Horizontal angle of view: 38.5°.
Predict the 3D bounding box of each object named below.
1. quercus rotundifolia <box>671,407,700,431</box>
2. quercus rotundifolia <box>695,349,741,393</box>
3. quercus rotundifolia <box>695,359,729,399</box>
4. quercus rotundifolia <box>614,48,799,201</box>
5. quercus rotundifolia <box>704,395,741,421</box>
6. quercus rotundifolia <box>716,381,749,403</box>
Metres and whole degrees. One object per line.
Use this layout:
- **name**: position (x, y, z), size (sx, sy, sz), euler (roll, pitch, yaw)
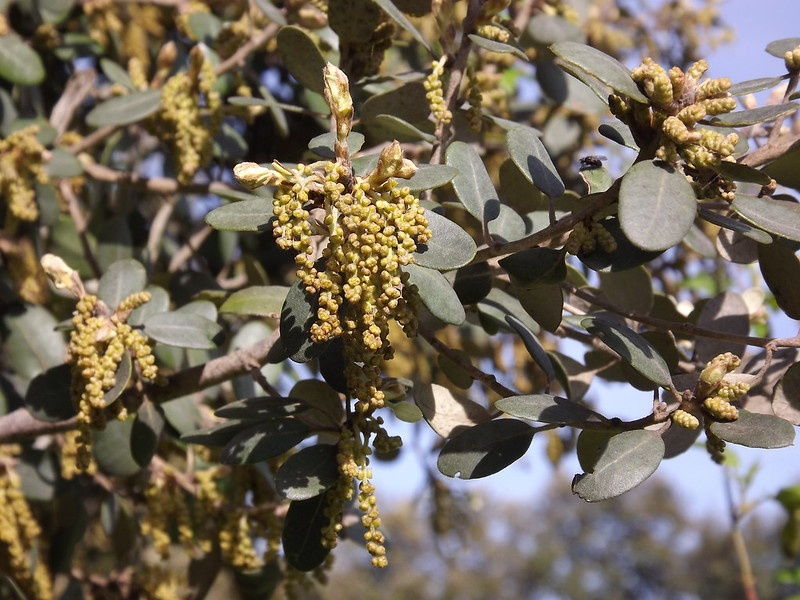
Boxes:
- **quercus rotundifolia**: position (0.682, 0.289, 2.732), size (0.055, 0.051, 0.108), euler (-14, -18, 16)
- **quercus rotundifolia**: position (0.753, 0.174, 2.722), size (0.063, 0.118, 0.041), euler (37, 2, -5)
- **quercus rotundifolia**: position (0.748, 0.181, 2.718), size (0.056, 0.106, 0.039), euler (30, 4, 2)
- **quercus rotundifolia**: position (0.701, -0.389, 2.680), size (0.406, 0.320, 0.226), euler (4, -20, -35)
- **quercus rotundifolia**: position (0.749, 0.253, 2.682), size (0.078, 0.046, 0.041), euler (22, 9, 30)
- **quercus rotundifolia**: position (0.777, 0.220, 2.682), size (0.078, 0.039, 0.037), euler (-16, -9, 31)
